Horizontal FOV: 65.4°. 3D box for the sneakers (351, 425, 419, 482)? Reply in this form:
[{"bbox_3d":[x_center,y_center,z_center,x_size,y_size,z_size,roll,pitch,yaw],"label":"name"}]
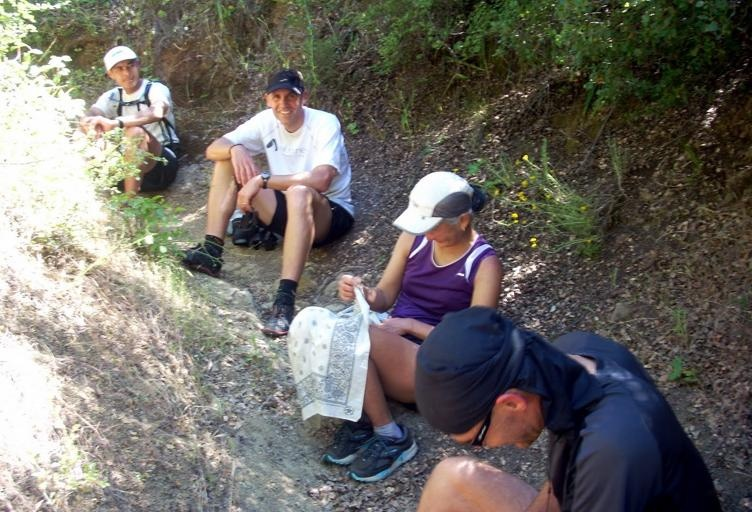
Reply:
[{"bbox_3d":[0.040,1.123,3.342,0.416,0.184,0.170,-29,57,-25],"label":"sneakers"}]

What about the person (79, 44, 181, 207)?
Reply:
[{"bbox_3d":[-2.246,-1.233,5.459,0.820,1.338,1.475,3,21,-19],"label":"person"}]

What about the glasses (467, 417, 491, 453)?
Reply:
[{"bbox_3d":[0.422,0.697,2.295,0.048,0.124,0.091,39,-12,-13],"label":"glasses"}]

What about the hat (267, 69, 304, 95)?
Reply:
[{"bbox_3d":[-0.677,-1.333,4.474,0.291,0.191,0.167,3,21,-17],"label":"hat"}]

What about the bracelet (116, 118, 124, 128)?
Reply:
[{"bbox_3d":[-2.145,-1.113,4.907,0.048,0.035,0.156,-2,25,-21],"label":"bracelet"}]

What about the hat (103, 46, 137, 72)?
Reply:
[{"bbox_3d":[-2.407,-1.853,5.512,0.245,0.238,0.270,0,22,-25],"label":"hat"}]

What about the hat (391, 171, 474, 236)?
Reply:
[{"bbox_3d":[0.380,-0.301,3.415,0.485,0.225,0.313,-27,40,-23],"label":"hat"}]

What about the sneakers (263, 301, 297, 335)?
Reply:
[{"bbox_3d":[-0.644,0.430,3.929,0.139,0.189,0.304,18,1,8],"label":"sneakers"}]

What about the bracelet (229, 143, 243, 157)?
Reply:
[{"bbox_3d":[-1.087,-0.835,4.555,0.023,0.078,0.092,7,1,20],"label":"bracelet"}]
